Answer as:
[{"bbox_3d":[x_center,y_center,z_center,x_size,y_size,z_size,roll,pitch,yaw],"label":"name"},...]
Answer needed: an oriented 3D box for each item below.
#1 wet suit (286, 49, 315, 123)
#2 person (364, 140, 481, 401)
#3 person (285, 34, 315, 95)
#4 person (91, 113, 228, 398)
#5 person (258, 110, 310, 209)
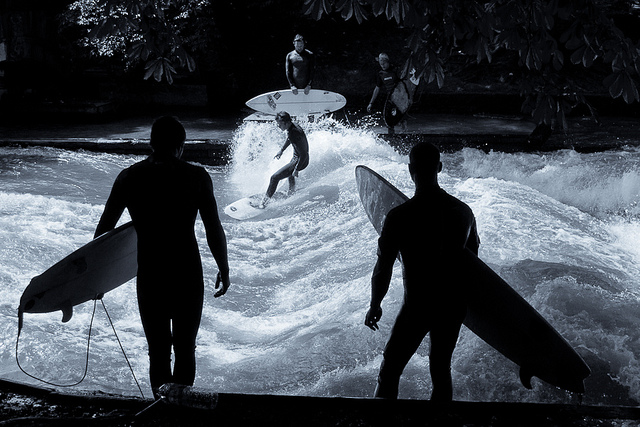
[{"bbox_3d":[-0.367,-2.627,13.717,0.599,1.964,0.529,-5,24,-2],"label":"wet suit"},{"bbox_3d":[0.906,0.744,5.718,0.989,2.555,0.807,1,14,-1],"label":"person"},{"bbox_3d":[-0.412,-2.996,13.430,0.549,1.191,0.845,3,12,-5],"label":"person"},{"bbox_3d":[-1.257,0.301,5.512,0.838,2.163,0.575,12,15,34],"label":"person"},{"bbox_3d":[-0.586,-0.942,11.151,0.753,1.558,1.283,3,12,-3],"label":"person"}]
